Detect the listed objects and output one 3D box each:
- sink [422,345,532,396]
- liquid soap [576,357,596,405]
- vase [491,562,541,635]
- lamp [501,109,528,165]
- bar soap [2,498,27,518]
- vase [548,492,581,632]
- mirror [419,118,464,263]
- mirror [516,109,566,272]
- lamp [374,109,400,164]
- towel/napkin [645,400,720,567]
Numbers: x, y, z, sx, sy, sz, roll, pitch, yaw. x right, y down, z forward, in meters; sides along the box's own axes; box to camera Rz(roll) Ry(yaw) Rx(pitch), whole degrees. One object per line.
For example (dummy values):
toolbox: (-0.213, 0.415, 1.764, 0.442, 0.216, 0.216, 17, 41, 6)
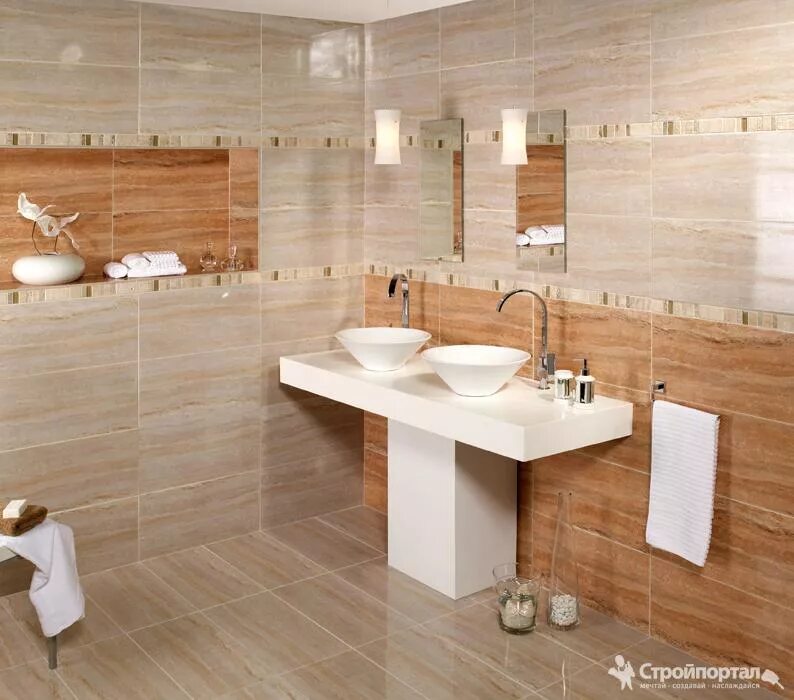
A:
sink: (0.329, 0.095, 2.957, 0.441, 0.172, 0.560, -1, 9, 3)
liquid soap: (0.777, 0.120, 2.810, 0.075, 0.165, 0.219, 1, 10, 16)
vase: (0.501, 1.088, 2.909, 0.218, 0.200, 0.205, -4, -18, 14)
lamp: (0.504, -0.916, 2.951, 0.100, 0.227, 0.099, 0, 11, 10)
bar soap: (-1.420, 0.585, 2.521, 0.049, 0.020, 0.098, 2, 7, -2)
vase: (0.698, 0.861, 2.864, 0.138, 0.575, 0.185, 1, 11, 12)
mirror: (0.241, -0.803, 3.510, 0.057, 0.672, 0.346, -15, 25, -33)
mirror: (0.639, -0.690, 3.005, 0.066, 0.701, 0.279, -9, 13, -31)
lamp: (-0.052, -1.066, 3.409, 0.117, 0.276, 0.133, -1, 11, 5)
towel/napkin: (1.054, 0.483, 2.532, 0.113, 0.556, 0.285, -6, 11, -20)
